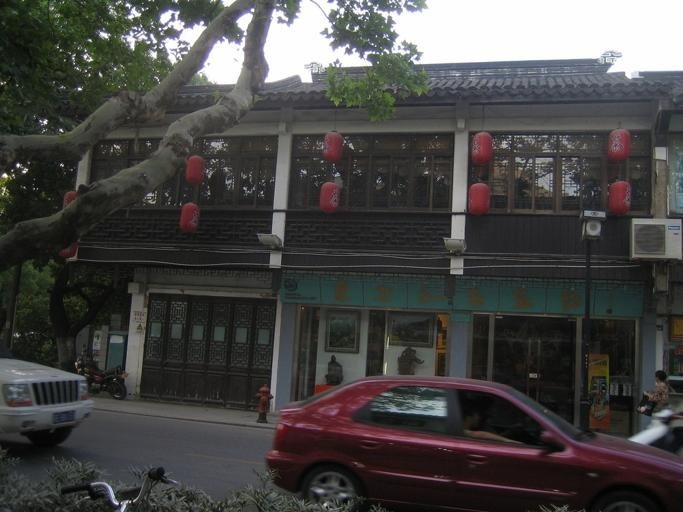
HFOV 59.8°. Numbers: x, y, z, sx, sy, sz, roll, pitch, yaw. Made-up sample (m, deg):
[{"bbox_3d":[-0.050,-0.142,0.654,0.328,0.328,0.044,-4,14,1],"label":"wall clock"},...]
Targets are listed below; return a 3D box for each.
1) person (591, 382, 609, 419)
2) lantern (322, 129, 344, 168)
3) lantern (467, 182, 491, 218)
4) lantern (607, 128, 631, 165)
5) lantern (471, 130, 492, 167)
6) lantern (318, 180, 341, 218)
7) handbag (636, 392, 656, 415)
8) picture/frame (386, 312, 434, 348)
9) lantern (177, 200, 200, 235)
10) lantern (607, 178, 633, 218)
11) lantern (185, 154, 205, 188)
[{"bbox_3d":[6.441,3.563,14.784,0.461,0.867,0.212,2,-4,5],"label":"person"},{"bbox_3d":[-0.189,-2.843,15.382,0.759,0.981,0.712,0,-1,0],"label":"lantern"},{"bbox_3d":[3.309,-1.422,14.824,0.718,1.018,0.702,3,-6,-2],"label":"lantern"},{"bbox_3d":[6.473,-2.638,13.859,0.428,0.741,0.284,2,-9,25],"label":"lantern"},{"bbox_3d":[3.462,-2.700,14.593,0.430,0.891,0.736,3,-8,17],"label":"lantern"},{"bbox_3d":[-0.302,-1.569,15.678,0.750,0.971,0.723,1,-3,2],"label":"lantern"},{"bbox_3d":[6.340,3.076,12.292,0.350,0.577,0.201,-5,-47,46],"label":"handbag"},{"bbox_3d":[1.884,1.984,15.936,1.017,0.695,0.037,1,-4,13],"label":"picture/frame"},{"bbox_3d":[-4.193,-1.086,16.596,0.313,0.753,0.574,1,-9,28],"label":"lantern"},{"bbox_3d":[6.597,-1.454,14.105,0.439,0.914,0.761,2,-8,21],"label":"lantern"},{"bbox_3d":[-3.935,-2.366,16.006,0.416,0.684,0.553,2,-8,21],"label":"lantern"}]
